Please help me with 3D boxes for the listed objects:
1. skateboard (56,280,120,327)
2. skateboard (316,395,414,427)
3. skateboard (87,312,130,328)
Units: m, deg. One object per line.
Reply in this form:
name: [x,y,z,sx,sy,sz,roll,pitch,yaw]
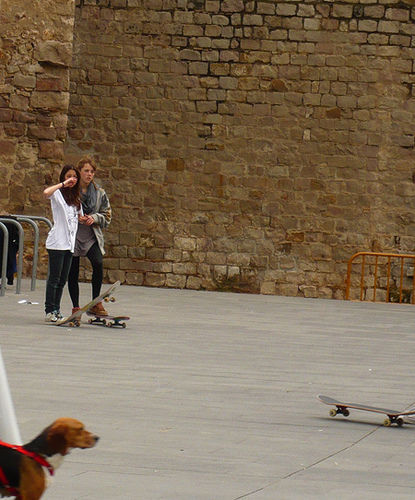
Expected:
skateboard: [-1.129,0.516,11.312,0.571,0.093,0.131,-33,-19,11]
skateboard: [0.964,0.986,7.437,0.793,0.128,0.196,6,5,24]
skateboard: [-0.881,0.630,10.800,0.138,0.096,0.577,-2,5,-43]
